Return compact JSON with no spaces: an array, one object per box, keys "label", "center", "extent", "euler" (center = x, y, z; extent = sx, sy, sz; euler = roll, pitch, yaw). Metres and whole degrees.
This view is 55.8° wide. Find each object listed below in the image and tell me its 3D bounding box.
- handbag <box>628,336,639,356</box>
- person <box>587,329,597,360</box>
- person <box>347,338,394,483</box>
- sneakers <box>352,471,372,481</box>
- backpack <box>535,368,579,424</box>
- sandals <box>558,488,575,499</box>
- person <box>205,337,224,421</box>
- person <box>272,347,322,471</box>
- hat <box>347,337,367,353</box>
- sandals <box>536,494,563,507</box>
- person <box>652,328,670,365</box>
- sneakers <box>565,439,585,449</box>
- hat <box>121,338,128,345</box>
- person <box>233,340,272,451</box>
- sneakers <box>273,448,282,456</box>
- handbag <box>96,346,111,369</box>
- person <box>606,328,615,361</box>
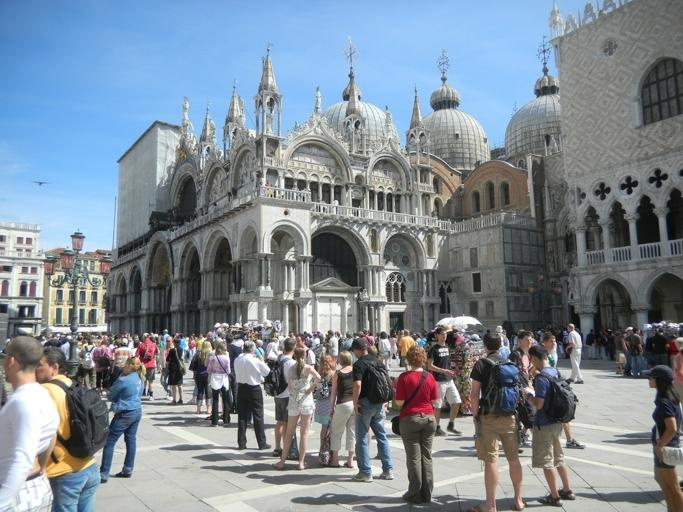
[{"label":"handbag","center":[10.920,3.301,23.990],"extent":[0.391,0.843,0.700],"euler":[0,2,26]},{"label":"person","center":[13.092,4.543,33.716],"extent":[0.517,1.326,1.047],"euler":[0,2,19]},{"label":"person","center":[0.624,2.982,12.653],"extent":[0.793,2.592,0.750],"euler":[0,1,-5]},{"label":"sneakers","center":[0.409,4.217,12.459],"extent":[0.360,0.181,0.141],"euler":[-1,-12,26]},{"label":"backpack","center":[3.793,2.460,11.418],"extent":[0.684,0.943,0.435],"euler":[0,2,20]},{"label":"sandals","center":[4.015,4.212,11.511],"extent":[0.136,0.177,0.392],"euler":[-1,-7,1]},{"label":"person","center":[-3.164,3.266,16.746],"extent":[0.530,2.346,0.942],"euler":[-1,2,-12]},{"label":"person","center":[-0.835,3.124,13.296],"extent":[0.836,2.348,0.810],"euler":[0,2,25]},{"label":"hat","center":[0.345,1.766,13.079],"extent":[0.272,0.236,0.383],"euler":[-1,-2,-16]},{"label":"sandals","center":[3.674,4.270,11.381],"extent":[0.327,0.153,0.169],"euler":[0,-11,29]},{"label":"person","center":[11.589,3.252,23.334],"extent":[0.628,1.273,0.667],"euler":[1,2,27]},{"label":"sneakers","center":[5.147,4.113,14.204],"extent":[0.429,0.201,0.161],"euler":[-1,-8,3]},{"label":"hat","center":[-8.336,3.243,24.782],"extent":[0.278,0.344,0.336],"euler":[3,0,-16]},{"label":"person","center":[-2.030,3.146,14.567],"extent":[0.777,2.412,0.868],"euler":[0,2,-8]},{"label":"sneakers","center":[-1.387,4.215,13.980],"extent":[0.114,0.166,0.233],"euler":[1,-2,9]},{"label":"handbag","center":[-7.972,3.375,21.593],"extent":[0.319,0.465,0.453],"euler":[11,-38,-36]},{"label":"person","center":[13.555,4.522,32.495],"extent":[0.335,1.235,0.926],"euler":[0,2,19]}]
